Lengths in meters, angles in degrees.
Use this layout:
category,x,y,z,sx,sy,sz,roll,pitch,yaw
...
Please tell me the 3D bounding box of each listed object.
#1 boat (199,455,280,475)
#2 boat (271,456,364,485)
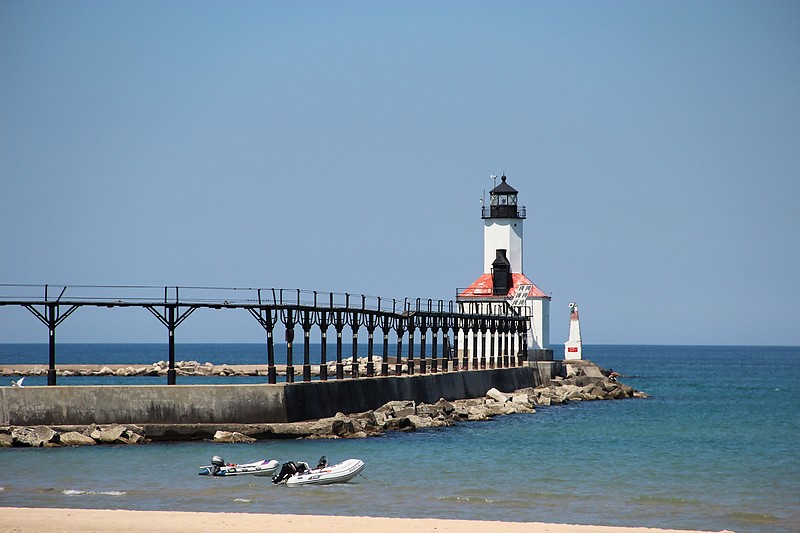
category,x,y,z,sx,sy,sz,roll,pitch,yaw
boat,-9.716,12.214,91.739,3.670,1.148,1.802,-3,0,-4
boat,-4.798,12.355,90.320,4.003,1.319,1.923,-4,1,-8
